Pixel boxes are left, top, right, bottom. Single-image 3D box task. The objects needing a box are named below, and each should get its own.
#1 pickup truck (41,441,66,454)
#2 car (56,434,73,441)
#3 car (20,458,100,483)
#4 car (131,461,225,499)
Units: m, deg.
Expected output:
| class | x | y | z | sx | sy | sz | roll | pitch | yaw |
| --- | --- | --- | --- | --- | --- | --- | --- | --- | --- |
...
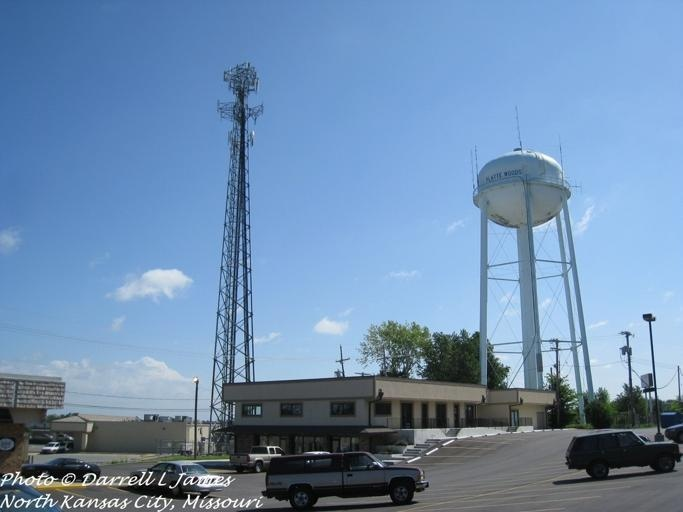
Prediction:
| class | x | y | z | sx | sy | sz | roll | pitch | yaw |
| --- | --- | --- | --- | --- | --- | --- | --- | --- | --- |
| pickup truck | -40.405 | 26.961 | 81.162 | 2.253 | 1.941 | 3.964 | -4 | -18 | 14 |
| car | -45.228 | 29.566 | 94.500 | 3.127 | 1.012 | 1.847 | -17 | -24 | 40 |
| car | -18.679 | 14.268 | 38.633 | 4.470 | 1.397 | 1.325 | 2 | -18 | -8 |
| car | -9.535 | 12.833 | 33.413 | 6.446 | 1.840 | 1.279 | -13 | -21 | 32 |
